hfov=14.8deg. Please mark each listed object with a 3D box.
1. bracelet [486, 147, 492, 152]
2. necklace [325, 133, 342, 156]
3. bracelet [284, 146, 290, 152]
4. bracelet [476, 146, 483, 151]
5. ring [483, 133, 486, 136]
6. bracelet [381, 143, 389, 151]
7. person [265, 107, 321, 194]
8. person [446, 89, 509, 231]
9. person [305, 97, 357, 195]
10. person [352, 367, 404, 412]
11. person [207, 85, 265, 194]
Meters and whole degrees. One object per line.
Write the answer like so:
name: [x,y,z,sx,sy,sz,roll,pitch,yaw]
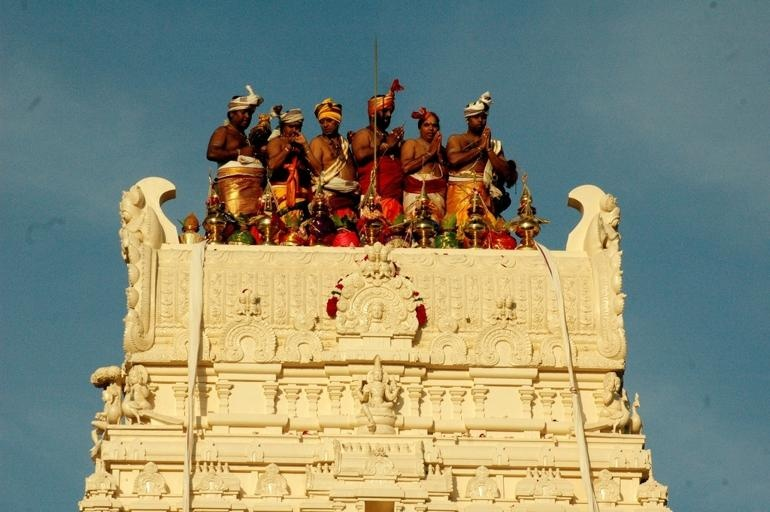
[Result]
bracelet: [2.013,-2.053,54.534,0.083,0.018,0.081,6,-28,-16]
necklace: [-0.816,-2.149,54.557,0.269,0.345,0.143,-3,-13,-7]
bracelet: [-1.678,-2.052,54.481,0.089,0.043,0.092,3,-20,-1]
bracelet: [1.816,-2.062,54.336,0.092,0.087,0.021,-10,-2,-2]
ring: [1.909,-2.332,54.372,0.044,0.038,0.011,1,-3,0]
bracelet: [0.095,-2.097,54.530,0.124,0.118,0.117,-4,41,4]
person: [-1.660,-1.555,54.755,0.852,2.412,1.050,4,5,40]
person: [1.789,-1.474,54.498,1.312,3.112,0.999,2,-9,-10]
person: [-0.864,-2.087,54.461,0.870,1.695,0.880,-2,10,-11]
person: [-0.032,2.275,51.057,0.798,0.862,0.281,-1,0,1]
person: [-2.600,-2.157,54.192,1.023,1.924,1.105,0,10,-4]
